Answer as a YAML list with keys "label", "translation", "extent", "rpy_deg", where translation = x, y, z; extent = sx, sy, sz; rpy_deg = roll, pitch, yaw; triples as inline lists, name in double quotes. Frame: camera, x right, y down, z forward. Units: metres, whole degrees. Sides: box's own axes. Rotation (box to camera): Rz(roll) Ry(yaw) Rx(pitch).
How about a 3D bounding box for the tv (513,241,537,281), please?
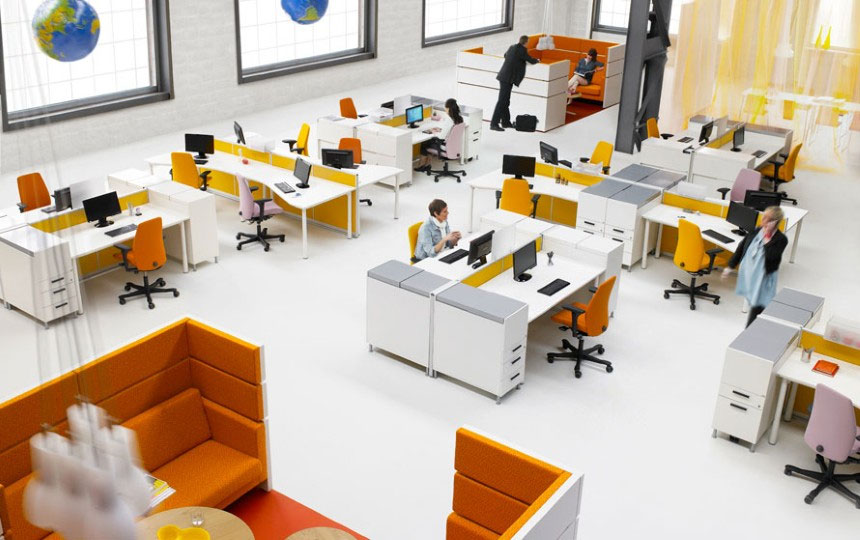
- label: "tv"
  translation: [1.016, -0.084, 6.959]
  extent: [0.167, 0.379, 0.413]
  rpy_deg: [18, 33, 40]

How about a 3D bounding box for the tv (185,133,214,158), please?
- label: "tv"
  translation: [-3.447, -1.843, 9.577]
  extent: [0.443, 0.322, 0.144]
  rpy_deg: [10, 33, 8]

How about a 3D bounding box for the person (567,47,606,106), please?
- label: "person"
  translation: [3.540, -4.561, 14.931]
  extent: [0.653, 1.116, 0.920]
  rpy_deg: [26, 27, 33]

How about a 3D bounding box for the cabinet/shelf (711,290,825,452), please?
- label: "cabinet/shelf"
  translation: [3.120, 0.978, 5.857]
  extent: [0.379, 0.707, 1.211]
  rpy_deg: [26, 45, 34]

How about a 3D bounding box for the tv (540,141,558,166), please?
- label: "tv"
  translation: [1.762, -1.692, 9.361]
  extent: [0.289, 0.291, 0.345]
  rpy_deg: [8, 27, 10]

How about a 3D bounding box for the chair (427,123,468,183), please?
- label: "chair"
  translation: [0.285, -2.069, 11.058]
  extent: [0.694, 0.957, 0.681]
  rpy_deg: [0, 18, 5]

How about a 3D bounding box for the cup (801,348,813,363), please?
- label: "cup"
  translation: [3.381, 0.778, 5.746]
  extent: [0.077, 0.132, 0.075]
  rpy_deg: [-2, 27, 1]

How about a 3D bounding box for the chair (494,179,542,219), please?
- label: "chair"
  translation: [1.249, -0.923, 9.021]
  extent: [0.612, 0.860, 0.587]
  rpy_deg: [3, 27, 6]

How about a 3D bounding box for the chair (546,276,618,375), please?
- label: "chair"
  translation: [1.656, 0.522, 6.639]
  extent: [0.676, 1.028, 0.690]
  rpy_deg: [15, 30, 23]

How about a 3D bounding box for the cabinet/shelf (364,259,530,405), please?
- label: "cabinet/shelf"
  translation: [0.143, 0.674, 6.345]
  extent: [1.227, 0.673, 0.358]
  rpy_deg: [24, 36, 31]

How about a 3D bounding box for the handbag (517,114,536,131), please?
- label: "handbag"
  translation: [1.865, -2.770, 12.301]
  extent: [0.363, 0.304, 0.326]
  rpy_deg: [10, 26, 21]

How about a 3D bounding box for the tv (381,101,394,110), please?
- label: "tv"
  translation: [-0.746, -3.037, 11.885]
  extent: [0.219, 0.057, 0.206]
  rpy_deg: [8, 26, 16]

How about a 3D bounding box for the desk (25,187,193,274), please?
- label: "desk"
  translation: [-2.896, -0.363, 5.963]
  extent: [0.483, 0.538, 0.841]
  rpy_deg: [25, 41, 31]

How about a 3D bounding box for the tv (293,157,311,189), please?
- label: "tv"
  translation: [-1.789, -1.336, 8.950]
  extent: [0.124, 0.294, 0.414]
  rpy_deg: [-17, 36, -31]

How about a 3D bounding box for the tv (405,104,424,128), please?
- label: "tv"
  translation: [-0.275, -2.723, 11.401]
  extent: [0.191, 0.335, 0.369]
  rpy_deg: [12, 28, 25]

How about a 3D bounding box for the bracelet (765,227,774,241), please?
- label: "bracelet"
  translation: [3.294, -0.340, 6.219]
  extent: [0.071, 0.096, 0.033]
  rpy_deg: [26, 18, 1]

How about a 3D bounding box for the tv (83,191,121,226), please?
- label: "tv"
  translation: [-3.872, -0.700, 7.553]
  extent: [0.160, 0.347, 0.479]
  rpy_deg: [15, 25, 20]

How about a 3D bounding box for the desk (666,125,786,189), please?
- label: "desk"
  translation: [4.991, -1.864, 10.490]
  extent: [1.032, 0.589, 2.092]
  rpy_deg: [25, 34, 36]

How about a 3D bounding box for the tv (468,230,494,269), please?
- label: "tv"
  translation: [0.590, -0.168, 6.825]
  extent: [0.405, 0.385, 0.113]
  rpy_deg: [-21, 11, -39]

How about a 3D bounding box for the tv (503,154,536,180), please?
- label: "tv"
  translation: [1.284, -1.464, 9.205]
  extent: [0.426, 0.304, 0.125]
  rpy_deg: [11, 33, 14]

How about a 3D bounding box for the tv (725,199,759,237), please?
- label: "tv"
  translation: [3.850, -0.624, 7.884]
  extent: [0.152, 0.321, 0.451]
  rpy_deg: [-16, 33, -26]

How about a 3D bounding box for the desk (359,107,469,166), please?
- label: "desk"
  translation: [-0.274, -2.237, 10.906]
  extent: [0.694, 0.682, 1.057]
  rpy_deg: [24, 40, 34]

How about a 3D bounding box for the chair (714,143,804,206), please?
- label: "chair"
  translation: [5.728, -1.612, 10.523]
  extent: [0.678, 0.980, 0.747]
  rpy_deg: [12, 24, 28]

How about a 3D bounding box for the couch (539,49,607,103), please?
- label: "couch"
  translation: [3.474, -4.534, 14.859]
  extent: [0.731, 0.722, 1.170]
  rpy_deg: [27, 54, 30]

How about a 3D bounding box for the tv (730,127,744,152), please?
- label: "tv"
  translation: [5.039, -2.124, 10.495]
  extent: [0.161, 0.421, 0.395]
  rpy_deg: [12, 34, 31]

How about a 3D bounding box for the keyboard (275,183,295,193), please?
- label: "keyboard"
  translation: [-1.998, -1.126, 8.804]
  extent: [0.208, 0.037, 0.372]
  rpy_deg: [-15, 32, -32]

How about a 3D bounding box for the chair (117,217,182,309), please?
- label: "chair"
  translation: [-3.353, -0.143, 7.404]
  extent: [0.642, 1.032, 0.633]
  rpy_deg: [22, 32, 33]

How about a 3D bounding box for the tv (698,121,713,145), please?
- label: "tv"
  translation: [4.509, -2.215, 10.458]
  extent: [0.120, 0.296, 0.419]
  rpy_deg: [19, 38, 31]

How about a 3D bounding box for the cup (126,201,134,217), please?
- label: "cup"
  translation: [-3.704, -0.739, 7.907]
  extent: [0.066, 0.214, 0.104]
  rpy_deg: [6, 3, 20]

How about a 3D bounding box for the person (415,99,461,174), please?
- label: "person"
  translation: [0.219, -2.313, 11.038]
  extent: [0.709, 1.331, 0.933]
  rpy_deg: [-9, 29, -22]

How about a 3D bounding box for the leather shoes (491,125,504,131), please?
- label: "leather shoes"
  translation: [1.397, -2.929, 13.193]
  extent: [0.281, 0.194, 0.095]
  rpy_deg: [3, 32, 10]

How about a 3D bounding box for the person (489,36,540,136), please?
- label: "person"
  translation: [1.642, -3.681, 12.800]
  extent: [0.695, 1.850, 0.361]
  rpy_deg: [-9, 29, -22]
